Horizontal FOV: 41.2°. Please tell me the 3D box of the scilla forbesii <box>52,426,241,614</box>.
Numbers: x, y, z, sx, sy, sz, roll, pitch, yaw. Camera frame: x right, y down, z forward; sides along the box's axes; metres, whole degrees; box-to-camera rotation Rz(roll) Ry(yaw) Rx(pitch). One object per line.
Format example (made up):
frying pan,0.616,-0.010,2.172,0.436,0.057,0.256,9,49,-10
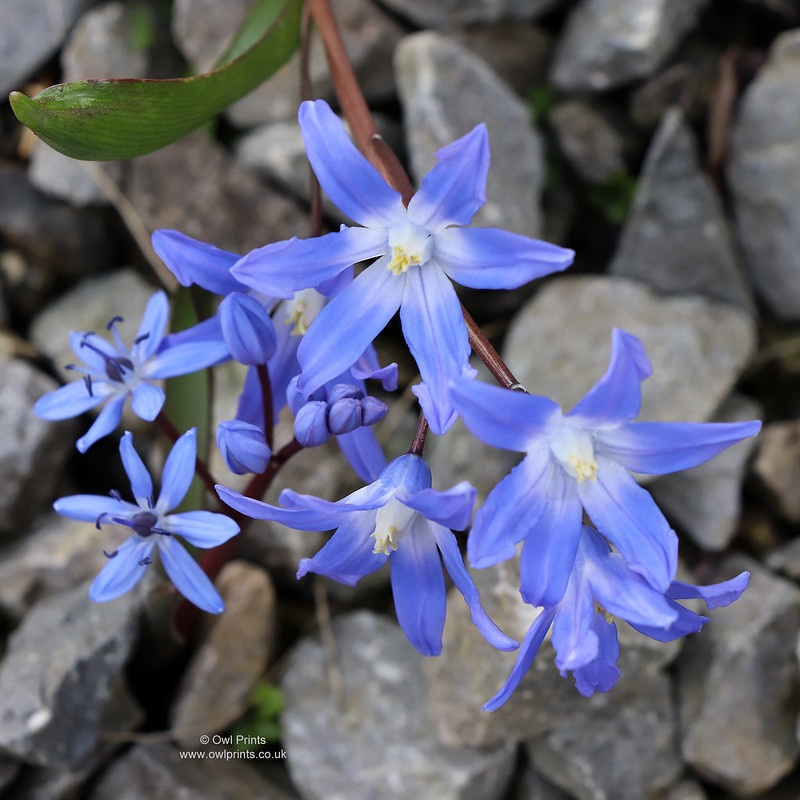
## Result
scilla forbesii,-0.425,0.220,1.857,0.306,0.112,0.344,11,105,26
